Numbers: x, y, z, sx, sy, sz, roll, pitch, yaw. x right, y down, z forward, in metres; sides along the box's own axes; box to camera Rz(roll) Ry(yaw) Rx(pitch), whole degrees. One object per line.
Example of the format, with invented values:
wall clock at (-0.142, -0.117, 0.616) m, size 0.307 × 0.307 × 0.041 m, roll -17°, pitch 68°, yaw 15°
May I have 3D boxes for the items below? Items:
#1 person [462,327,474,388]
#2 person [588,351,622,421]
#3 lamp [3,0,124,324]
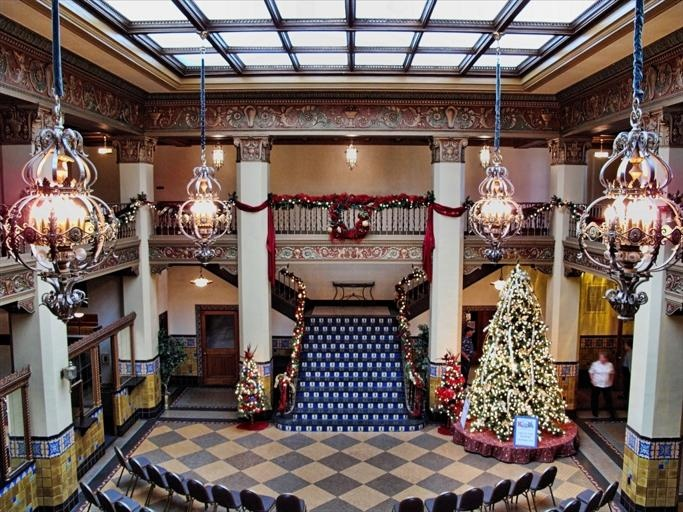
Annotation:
person at (3.537, 2.848, 15.077) m, size 0.288 × 1.531 × 0.948 m, roll 0°, pitch 8°, yaw 12°
person at (6.753, 3.347, 13.775) m, size 0.577 × 1.971 × 0.942 m, roll 3°, pitch 10°, yaw 33°
lamp at (-3.379, -1.117, 6.289) m, size 1.145 × 3.859 × 0.857 m, roll -1°, pitch 8°, yaw 3°
